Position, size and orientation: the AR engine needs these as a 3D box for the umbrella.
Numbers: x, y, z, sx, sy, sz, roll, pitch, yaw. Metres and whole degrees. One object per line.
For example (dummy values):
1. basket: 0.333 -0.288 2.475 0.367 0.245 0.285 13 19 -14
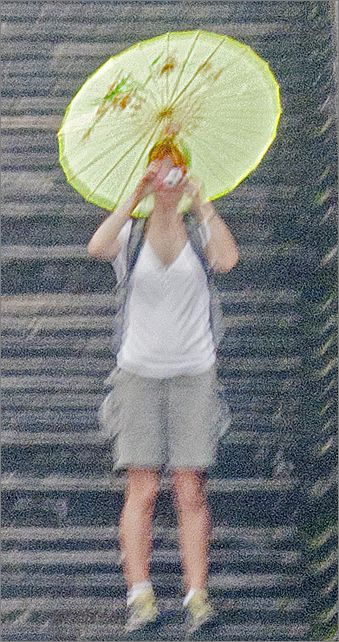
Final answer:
1. umbrella: 0.024 -0.785 3.736 0.714 0.773 0.234 -32 14 -2

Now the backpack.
1. backpack: 0.004 -0.149 3.846 0.438 0.572 0.358 2 42 0

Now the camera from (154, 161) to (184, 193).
1. camera: 0.000 -0.541 3.665 0.108 0.081 0.096 8 41 6
